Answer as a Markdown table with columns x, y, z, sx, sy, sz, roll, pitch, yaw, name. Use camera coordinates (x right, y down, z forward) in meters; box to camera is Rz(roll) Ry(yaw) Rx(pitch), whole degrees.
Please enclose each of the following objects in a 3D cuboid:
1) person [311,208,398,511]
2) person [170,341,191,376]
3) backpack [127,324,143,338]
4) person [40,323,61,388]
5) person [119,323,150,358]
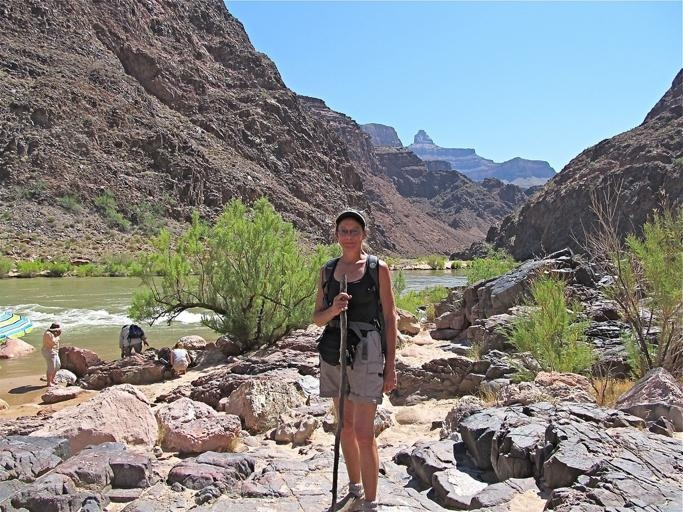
| x | y | z | sx | sy | sz | roll | pitch | yaw | name |
| --- | --- | --- | --- | --- | --- | --- | --- | --- | --- |
| 0.120 | 0.842 | 4.244 | 0.694 | 2.490 | 0.503 | -3 | 2 | 6 | person |
| -3.237 | 2.041 | 10.052 | 0.362 | 0.545 | 0.794 | 2 | 14 | -22 | person |
| -4.528 | 1.675 | 11.090 | 0.232 | 0.326 | 0.335 | 3 | 1 | 18 | backpack |
| -5.655 | 1.915 | 9.839 | 0.324 | 1.212 | 1.423 | -5 | 2 | -30 | person |
| -4.548 | 1.849 | 11.166 | 0.517 | 1.113 | 0.350 | 1 | 35 | -8 | person |
